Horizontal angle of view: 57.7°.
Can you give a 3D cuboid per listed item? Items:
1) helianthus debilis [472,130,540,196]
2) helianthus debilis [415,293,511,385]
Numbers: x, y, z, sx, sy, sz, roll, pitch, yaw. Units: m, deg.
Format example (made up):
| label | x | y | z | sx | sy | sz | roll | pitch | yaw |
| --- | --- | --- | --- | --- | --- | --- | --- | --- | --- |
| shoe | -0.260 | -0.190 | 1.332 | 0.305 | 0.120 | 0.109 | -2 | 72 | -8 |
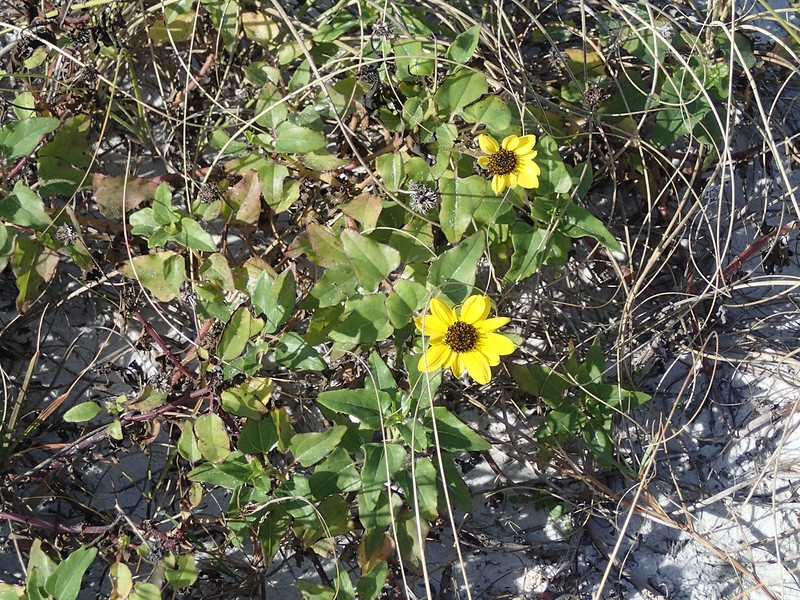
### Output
| label | x | y | z | sx | sy | sz | roll | pitch | yaw |
| --- | --- | --- | --- | --- | --- | --- | --- | --- | --- |
| helianthus debilis | 0.312 | -0.373 | 2.055 | 0.200 | 0.179 | 0.157 | 6 | 47 | -3 |
| helianthus debilis | 0.155 | 0.105 | 1.921 | 0.304 | 0.090 | 0.328 | -14 | 20 | -24 |
